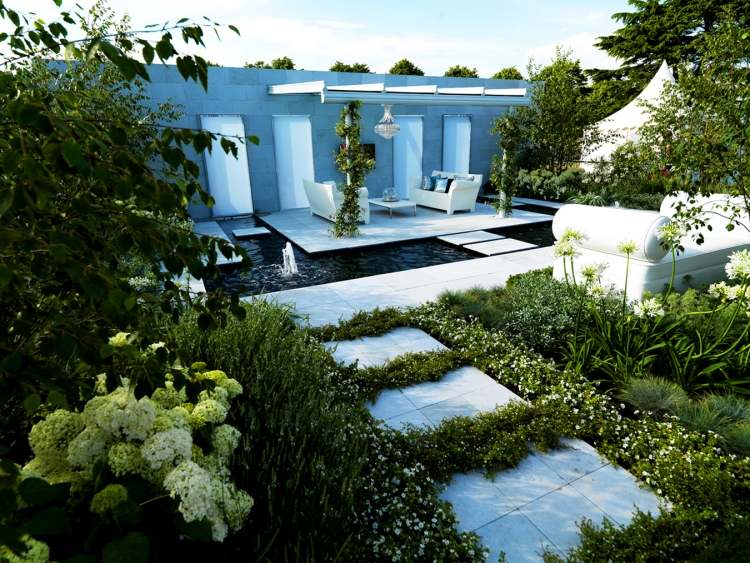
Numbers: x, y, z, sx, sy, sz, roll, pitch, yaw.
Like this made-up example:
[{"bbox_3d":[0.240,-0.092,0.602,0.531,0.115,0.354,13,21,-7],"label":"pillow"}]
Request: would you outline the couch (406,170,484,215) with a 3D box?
[{"bbox_3d":[1.992,-2.687,13.920,1.001,1.074,2.228,-8,19,-30],"label":"couch"}]
